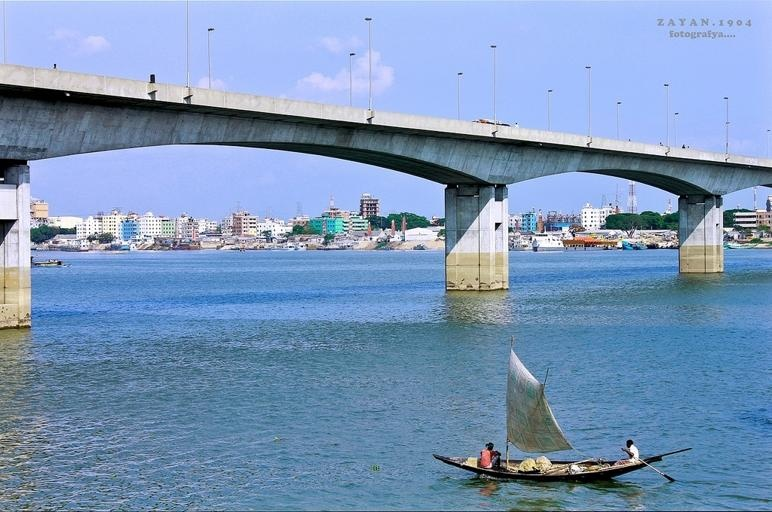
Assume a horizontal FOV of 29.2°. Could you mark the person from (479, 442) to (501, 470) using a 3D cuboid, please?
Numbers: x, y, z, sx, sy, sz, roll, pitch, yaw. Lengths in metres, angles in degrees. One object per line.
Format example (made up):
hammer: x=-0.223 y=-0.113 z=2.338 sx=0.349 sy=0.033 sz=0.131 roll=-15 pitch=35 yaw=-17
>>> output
person: x=5.451 y=10.868 z=79.182 sx=1.196 sy=1.303 sz=0.495 roll=1 pitch=2 yaw=-27

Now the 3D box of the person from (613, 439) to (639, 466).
person: x=12.922 y=10.818 z=79.458 sx=1.692 sy=1.527 sz=0.909 roll=5 pitch=-8 yaw=2
